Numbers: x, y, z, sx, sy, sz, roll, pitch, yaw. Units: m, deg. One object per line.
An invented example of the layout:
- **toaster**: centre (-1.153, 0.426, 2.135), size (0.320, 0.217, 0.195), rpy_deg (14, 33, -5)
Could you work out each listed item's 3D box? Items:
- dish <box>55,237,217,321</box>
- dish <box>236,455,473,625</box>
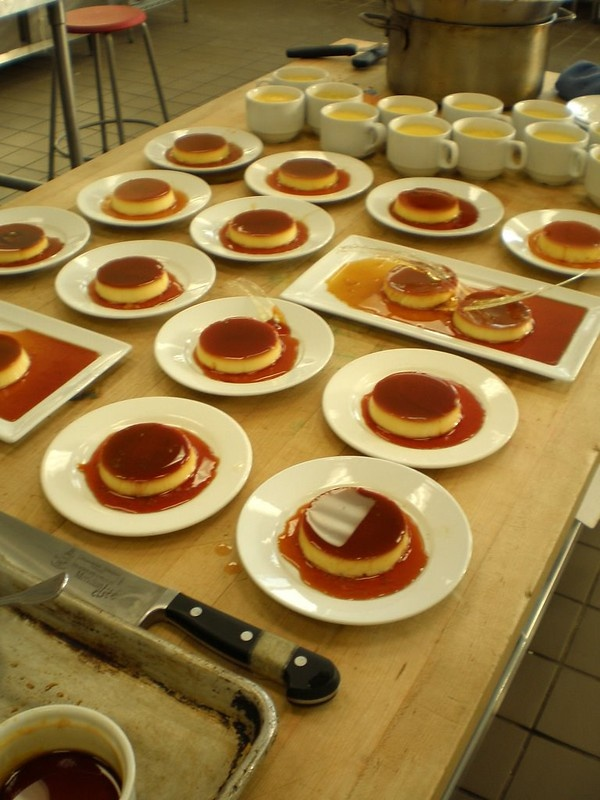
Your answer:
- **dish**: centre (-0.294, -0.230, 1.174), size (0.168, 0.018, 0.161), rpy_deg (-14, -16, 13)
- **dish**: centre (0.049, 0.114, 0.697), size (0.196, 0.186, 0.018), rpy_deg (-12, 45, 18)
